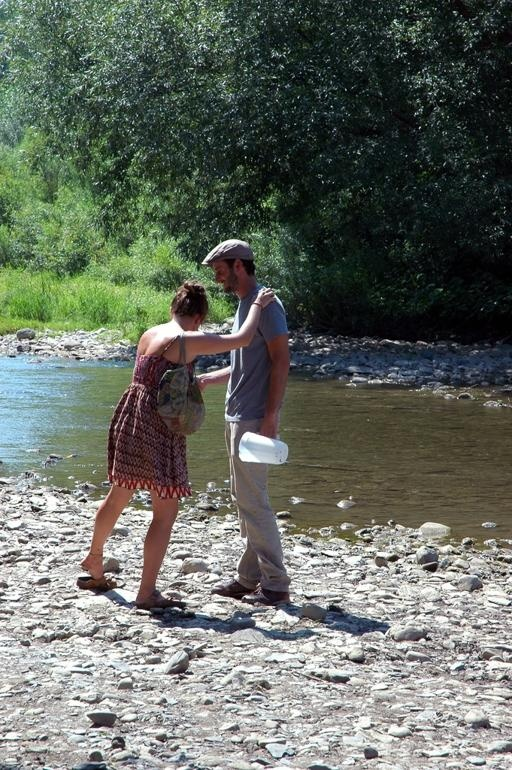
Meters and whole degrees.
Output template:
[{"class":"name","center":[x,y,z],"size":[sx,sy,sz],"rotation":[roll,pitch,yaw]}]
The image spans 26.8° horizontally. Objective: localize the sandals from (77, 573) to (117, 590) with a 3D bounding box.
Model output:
[{"class":"sandals","center":[-0.870,1.062,5.837],"size":[0.176,0.059,0.086],"rotation":[3,4,-7]}]

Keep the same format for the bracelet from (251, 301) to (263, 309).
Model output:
[{"class":"bracelet","center":[-0.003,-0.414,5.577],"size":[0.038,0.040,0.039],"rotation":[-3,27,7]}]

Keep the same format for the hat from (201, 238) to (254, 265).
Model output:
[{"class":"hat","center":[-0.157,-0.699,5.720],"size":[0.265,0.134,0.277],"rotation":[0,6,-2]}]

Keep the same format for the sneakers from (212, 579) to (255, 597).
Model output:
[{"class":"sneakers","center":[-0.129,1.107,5.969],"size":[0.246,0.108,0.087],"rotation":[8,-2,6]}]

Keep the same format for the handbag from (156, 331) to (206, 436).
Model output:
[{"class":"handbag","center":[-0.374,0.005,5.522],"size":[0.179,0.524,0.300],"rotation":[5,8,31]}]

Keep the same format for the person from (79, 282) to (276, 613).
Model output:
[{"class":"person","center":[-0.469,0.302,5.636],"size":[0.999,1.665,0.501],"rotation":[1,7,1]}]

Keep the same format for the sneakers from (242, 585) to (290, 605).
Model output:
[{"class":"sneakers","center":[0.058,1.131,5.792],"size":[0.249,0.099,0.093],"rotation":[5,-1,14]}]
